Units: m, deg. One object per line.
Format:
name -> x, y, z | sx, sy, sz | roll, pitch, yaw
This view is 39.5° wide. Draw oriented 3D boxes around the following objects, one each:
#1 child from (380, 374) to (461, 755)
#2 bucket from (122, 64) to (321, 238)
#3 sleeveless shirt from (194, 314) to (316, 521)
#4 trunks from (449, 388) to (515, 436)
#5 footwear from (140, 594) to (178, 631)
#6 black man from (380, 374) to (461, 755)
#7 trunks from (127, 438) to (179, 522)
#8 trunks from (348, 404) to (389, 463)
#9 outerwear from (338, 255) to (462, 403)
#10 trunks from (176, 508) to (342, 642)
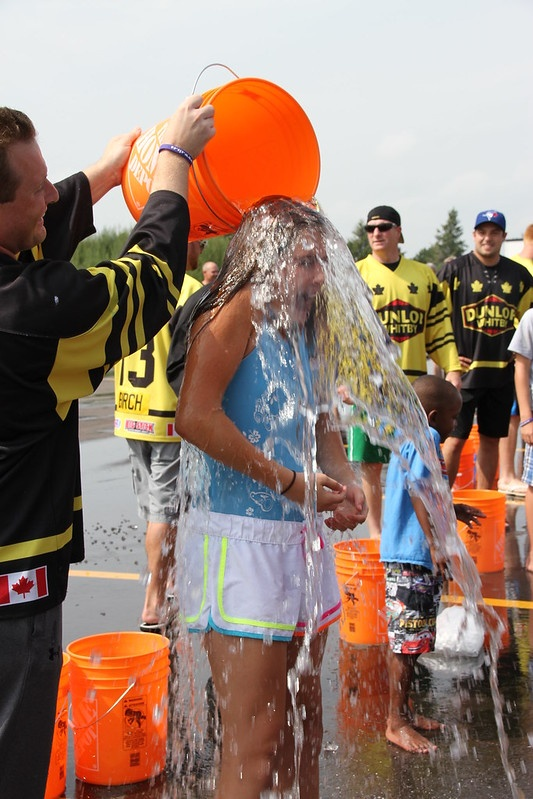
child -> 0.600, 0.602, 2.974 | 0.295, 1.362, 0.761 | 1, 4, 14
bucket -> -0.191, -0.686, 2.180 | 0.408, 0.435, 0.390 | 16, 41, -15
sleeveless shirt -> -0.054, 0.048, 2.078 | 0.371, 0.705, 0.520 | 2, 2, 4
trunks -> 1.851, 0.064, 6.340 | 0.581, 0.334, 0.560 | -11, -3, 34
footwear -> -0.537, 1.121, 3.892 | 0.126, 0.176, 0.057 | 4, -3, 14
black man -> 0.600, 0.602, 2.974 | 0.295, 1.362, 0.761 | 1, 4, 14
trunks -> -0.653, 0.370, 4.137 | 0.193, 0.134, 0.418 | -13, 34, -25
trunks -> 0.709, 0.261, 5.271 | 0.426, 0.316, 0.243 | 5, -29, -5
outerwear -> 0.924, -0.591, 5.471 | 1.011, 0.925, 0.367 | -3, 12, -7
trunks -> -0.004, 0.445, 1.831 | 0.247, 0.293, 0.419 | -17, -17, 41
